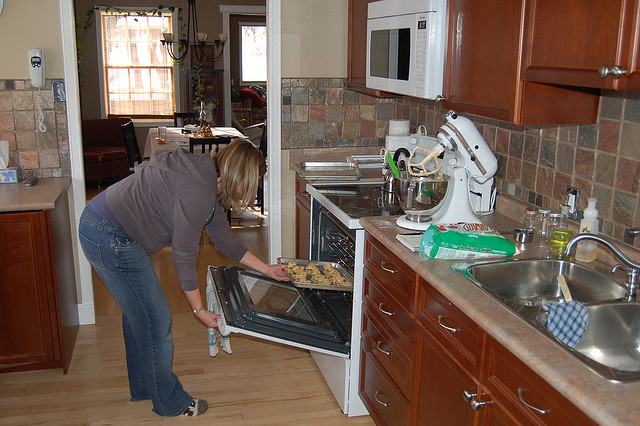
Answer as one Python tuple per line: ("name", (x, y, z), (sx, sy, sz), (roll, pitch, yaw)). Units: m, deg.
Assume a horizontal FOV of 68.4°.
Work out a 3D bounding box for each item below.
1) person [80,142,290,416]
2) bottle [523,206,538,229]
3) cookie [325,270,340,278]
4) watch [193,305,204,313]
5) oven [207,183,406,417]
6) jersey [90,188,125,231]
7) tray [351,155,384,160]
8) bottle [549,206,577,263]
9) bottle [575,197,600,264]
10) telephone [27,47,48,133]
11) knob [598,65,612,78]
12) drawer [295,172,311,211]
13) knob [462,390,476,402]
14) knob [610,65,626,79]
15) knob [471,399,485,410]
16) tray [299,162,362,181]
("person", (-0.758, 0.442, 2.521), (0.945, 1.608, 0.388), (5, 16, 28))
("bottle", (1.071, 0.021, 2.404), (0.066, 0.111, 0.075), (-8, 24, -17))
("cookie", (0.069, 0.348, 2.718), (0.039, 0.009, 0.039), (2, 16, 7))
("watch", (-0.636, 0.494, 2.465), (0.044, 0.026, 0.043), (-1, 6, 27))
("oven", (-0.116, 0.433, 2.930), (1.414, 1.229, 0.999), (-3, 22, -18))
("jersey", (-1.108, -0.027, 2.515), (0.157, 0.188, 0.196), (-41, 17, -1))
("tray", (0.377, -0.455, 3.861), (0.234, 0.033, 0.148), (-4, 14, -7))
("bottle", (1.107, 0.085, 2.144), (0.099, 0.243, 0.099), (-1, 14, 0))
("bottle", (1.230, 0.077, 2.146), (0.108, 0.291, 0.106), (2, 6, 0))
("telephone", (-2.001, -0.876, 3.380), (0.122, 0.585, 0.083), (-10, 16, -28))
("knob", (0.999, -0.496, 1.655), (0.036, 0.040, 0.027), (5, 16, 27))
("drawer", (-0.134, -0.159, 3.507), (0.069, 0.217, 0.341), (-2, 29, -16))
("knob", (0.569, 0.694, 1.801), (0.047, 0.046, 0.028), (8, 13, 22))
("knob", (1.021, -0.483, 1.620), (0.044, 0.024, 0.034), (-7, 51, -11))
("knob", (0.587, 0.713, 1.751), (0.040, 0.029, 0.021), (-4, -10, 7))
("tray", (0.063, -0.312, 3.492), (0.440, 0.081, 0.466), (-3, 14, -1))
